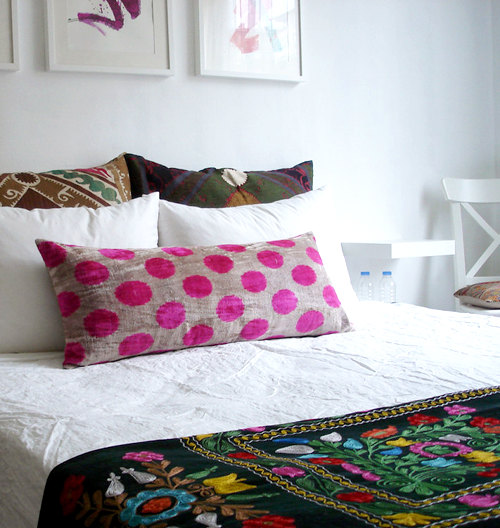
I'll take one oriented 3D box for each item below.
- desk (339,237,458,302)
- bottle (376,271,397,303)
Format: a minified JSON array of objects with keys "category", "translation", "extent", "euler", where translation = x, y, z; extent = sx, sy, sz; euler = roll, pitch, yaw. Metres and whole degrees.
[{"category":"desk","translation":[0.735,-0.013,2.589],"extent":[0.669,0.378,0.283],"euler":[2,-1,-5]},{"category":"bottle","translation":[0.645,0.113,2.566],"extent":[0.089,0.161,0.280],"euler":[-3,3,14]}]
